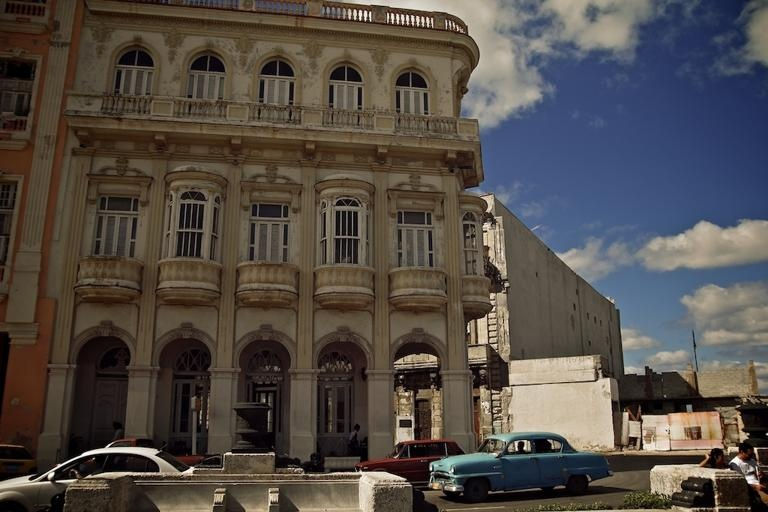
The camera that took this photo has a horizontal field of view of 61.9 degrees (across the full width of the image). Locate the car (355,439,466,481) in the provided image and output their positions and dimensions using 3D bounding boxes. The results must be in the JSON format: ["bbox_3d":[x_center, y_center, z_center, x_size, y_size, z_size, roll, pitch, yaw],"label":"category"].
[{"bbox_3d":[0.946,8.505,27.065,3.943,1.558,1.835,3,-17,-11],"label":"car"}]

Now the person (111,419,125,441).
[{"bbox_3d":[-12.498,8.105,30.075,0.567,1.038,2.475,7,-21,-22],"label":"person"}]

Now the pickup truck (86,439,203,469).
[{"bbox_3d":[-8.681,7.192,23.272,3.234,1.031,1.219,7,-15,1],"label":"pickup truck"}]
